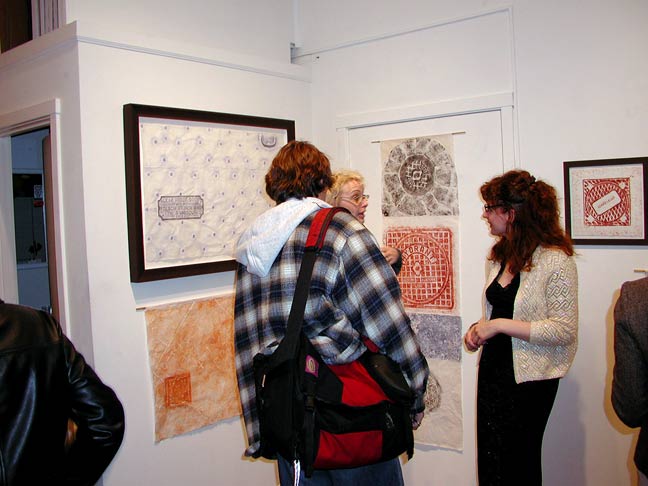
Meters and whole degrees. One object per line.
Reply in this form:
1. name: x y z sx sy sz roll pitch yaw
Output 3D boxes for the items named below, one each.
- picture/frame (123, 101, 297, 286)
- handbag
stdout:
1. picture/frame: -0.637 -0.245 2.405 0.945 0.870 0.070 -4 6 -36
2. handbag: 0.050 0.586 1.797 0.583 0.505 0.360 15 -25 -30
